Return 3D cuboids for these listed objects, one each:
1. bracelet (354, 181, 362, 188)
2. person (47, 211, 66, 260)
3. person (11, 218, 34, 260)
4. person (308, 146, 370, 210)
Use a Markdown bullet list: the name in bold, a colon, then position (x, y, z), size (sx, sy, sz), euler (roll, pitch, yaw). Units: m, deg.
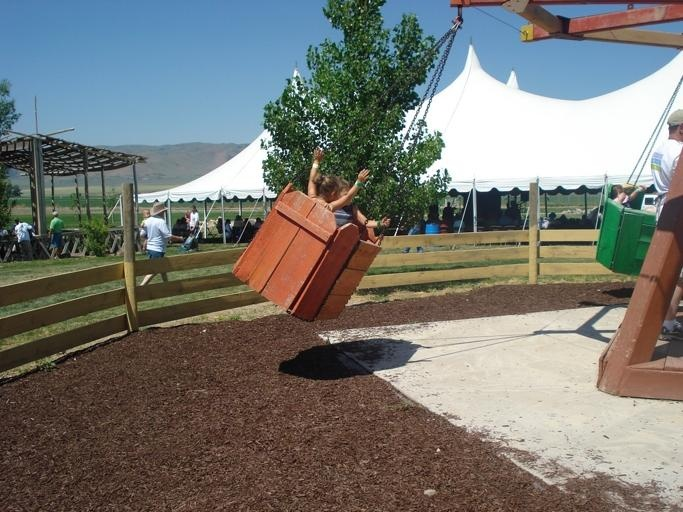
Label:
- **bracelet**: position (0.180, -0.792, 5.648), size (0.093, 0.057, 0.085), euler (1, 3, -7)
- **person**: position (-10.526, -0.773, 18.922), size (0.492, 1.617, 1.446), euler (-7, 11, -29)
- **person**: position (-11.326, -0.545, 18.345), size (0.582, 1.278, 1.230), euler (-8, 11, -31)
- **person**: position (-0.061, -0.897, 5.875), size (0.592, 0.734, 1.027), euler (-5, 10, -17)
